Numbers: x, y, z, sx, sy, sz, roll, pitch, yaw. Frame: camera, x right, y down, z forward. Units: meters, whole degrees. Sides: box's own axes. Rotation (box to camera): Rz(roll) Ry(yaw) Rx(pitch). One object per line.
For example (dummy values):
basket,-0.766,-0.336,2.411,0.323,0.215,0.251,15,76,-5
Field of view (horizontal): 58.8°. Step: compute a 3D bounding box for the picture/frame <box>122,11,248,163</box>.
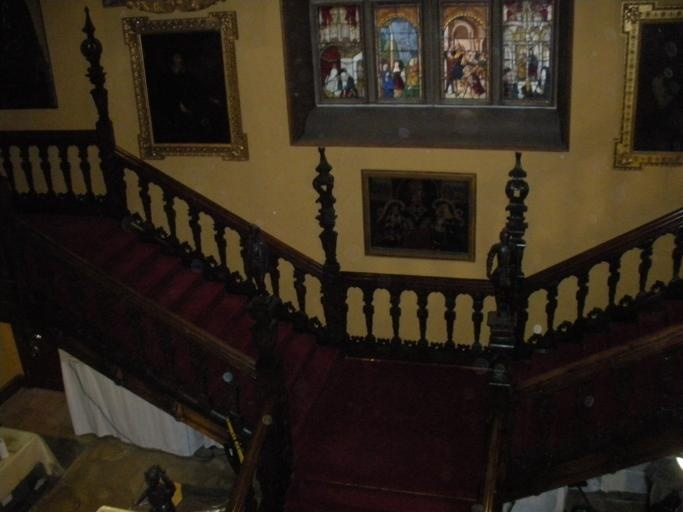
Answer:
picture/frame,-2.121,-2.449,8.457,1.761,2.349,0.262,5,30,13
